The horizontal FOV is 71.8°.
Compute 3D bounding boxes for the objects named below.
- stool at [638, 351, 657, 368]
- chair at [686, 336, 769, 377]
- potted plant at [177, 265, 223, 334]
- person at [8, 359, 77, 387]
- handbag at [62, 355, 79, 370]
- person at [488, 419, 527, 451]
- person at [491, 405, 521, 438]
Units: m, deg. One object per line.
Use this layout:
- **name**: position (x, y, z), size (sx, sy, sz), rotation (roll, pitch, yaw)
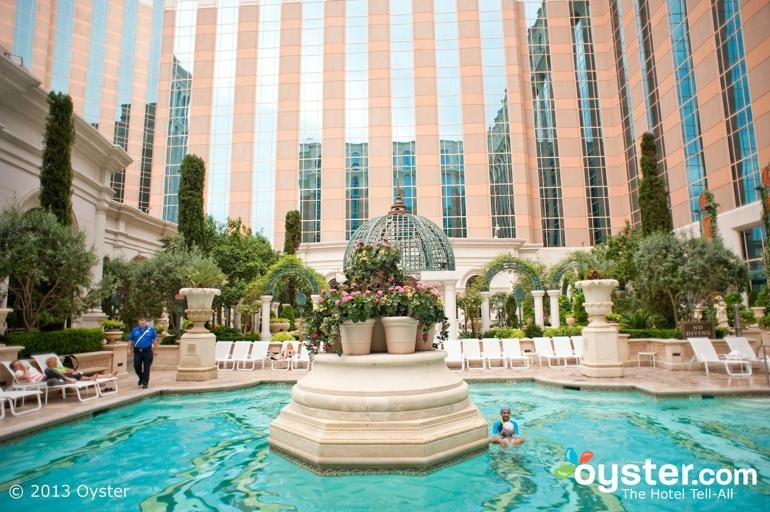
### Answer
- **stool**: position (10.767, 4.219, 21.850), size (0.649, 0.589, 0.644), rotation (-3, -9, 23)
- **chair**: position (12.422, 3.740, 19.936), size (1.610, 1.348, 2.377), rotation (0, -7, -2)
- **potted plant**: position (-7.419, 1.592, 21.538), size (1.831, 2.875, 2.047), rotation (-1, -10, -15)
- **person**: position (-10.861, 3.700, 16.953), size (1.702, 0.628, 0.907), rotation (-1, -4, 3)
- **handbag**: position (-10.725, 3.609, 18.209), size (0.499, 0.605, 0.600), rotation (-1, -10, -9)
- **person**: position (3.340, 4.799, 14.438), size (0.667, 0.445, 0.849), rotation (1, -3, 11)
- **person**: position (3.473, 4.739, 15.249), size (0.855, 0.654, 1.199), rotation (-1, 24, 11)
